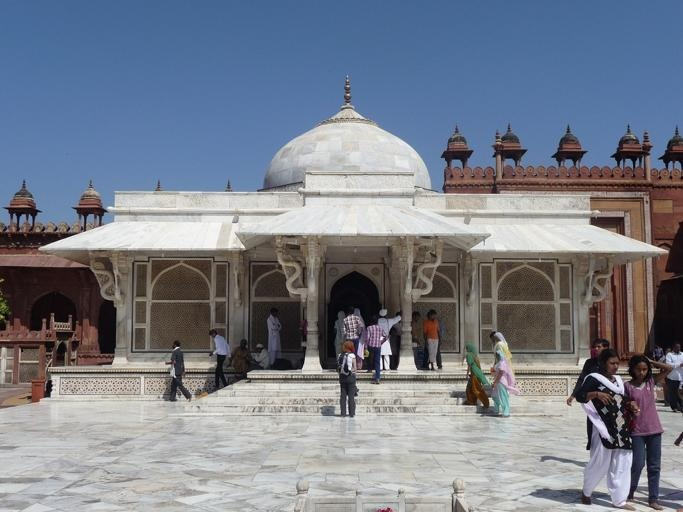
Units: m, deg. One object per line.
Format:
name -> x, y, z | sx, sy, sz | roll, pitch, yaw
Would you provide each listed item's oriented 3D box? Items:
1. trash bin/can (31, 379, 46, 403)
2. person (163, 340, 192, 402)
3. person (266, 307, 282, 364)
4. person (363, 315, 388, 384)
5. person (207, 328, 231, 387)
trash bin/can -> -7.376, 3.274, 22.680 | 0.271, 0.459, 1.278 | -1, 3, -16
person -> -3.872, 2.708, 22.175 | 0.565, 1.458, 1.420 | -1, 3, -10
person -> -1.666, 2.003, 22.973 | 0.307, 1.431, 0.551 | 0, 3, -1
person -> 0.744, 2.039, 20.754 | 0.551, 1.441, 0.654 | -2, 4, -21
person -> -2.958, 2.491, 22.816 | 0.453, 1.392, 1.162 | 0, 3, -7
